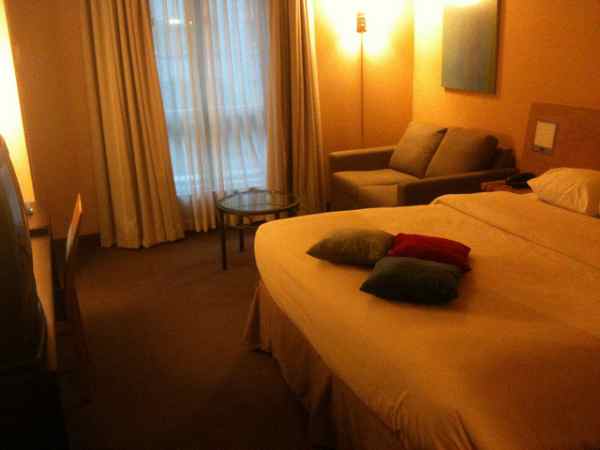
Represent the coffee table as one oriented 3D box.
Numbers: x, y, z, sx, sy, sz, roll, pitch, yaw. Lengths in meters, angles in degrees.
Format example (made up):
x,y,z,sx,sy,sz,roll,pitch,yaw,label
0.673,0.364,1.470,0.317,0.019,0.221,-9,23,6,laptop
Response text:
x,y,z,sx,sy,sz,roll,pitch,yaw,label
-0.469,0.037,4.172,0.534,0.443,0.539,-13,17,-34,coffee table
